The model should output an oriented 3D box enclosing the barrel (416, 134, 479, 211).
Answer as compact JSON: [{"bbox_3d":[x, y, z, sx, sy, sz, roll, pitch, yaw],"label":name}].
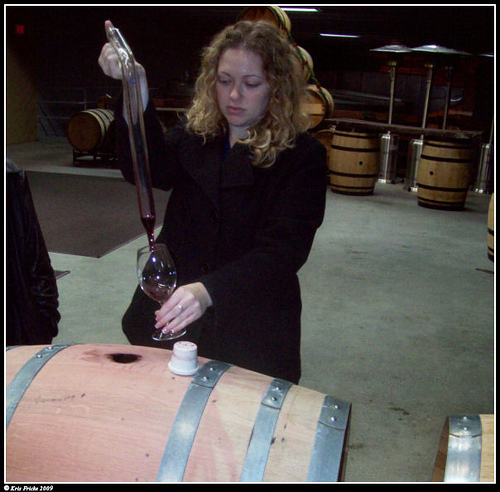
[{"bbox_3d":[2.924,-1.102,6.939,0.718,1.145,0.650,6,11,17],"label":"barrel"}]

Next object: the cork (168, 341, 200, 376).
[{"bbox_3d":[-0.149,0.266,1.056,0.073,0.064,0.072,7,10,-2],"label":"cork"}]

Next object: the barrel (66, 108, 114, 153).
[{"bbox_3d":[-3.277,-2.413,9.456,0.847,0.857,0.447,4,10,6],"label":"barrel"}]

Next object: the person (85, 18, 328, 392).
[{"bbox_3d":[-0.111,-0.123,1.441,0.568,1.178,0.537,-7,13,-41],"label":"person"}]

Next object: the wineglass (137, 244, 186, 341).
[{"bbox_3d":[-0.242,0.129,1.243,0.101,0.241,0.108,-2,12,18],"label":"wineglass"}]
